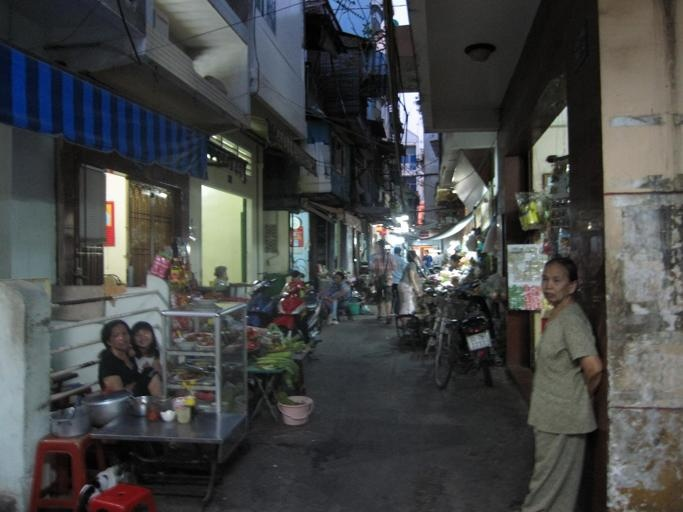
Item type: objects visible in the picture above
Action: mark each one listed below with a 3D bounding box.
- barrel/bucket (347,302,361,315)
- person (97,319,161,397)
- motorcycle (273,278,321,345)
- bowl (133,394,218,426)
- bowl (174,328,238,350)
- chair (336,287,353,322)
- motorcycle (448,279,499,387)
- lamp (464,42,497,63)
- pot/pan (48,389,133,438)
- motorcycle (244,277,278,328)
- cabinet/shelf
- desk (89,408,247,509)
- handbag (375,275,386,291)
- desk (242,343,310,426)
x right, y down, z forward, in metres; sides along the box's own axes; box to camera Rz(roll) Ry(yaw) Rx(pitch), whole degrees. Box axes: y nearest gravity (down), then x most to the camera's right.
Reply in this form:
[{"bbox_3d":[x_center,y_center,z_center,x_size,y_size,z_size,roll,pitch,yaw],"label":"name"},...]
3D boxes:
[{"bbox_3d":[0.337,1.361,15.423,0.329,0.260,0.341,0,4,0],"label":"barrel/bucket"},{"bbox_3d":[-2.147,1.024,6.110,0.595,0.725,0.432,-1,8,-15],"label":"person"},{"bbox_3d":[-0.601,0.890,9.198,0.669,0.796,1.494,-7,-4,17],"label":"motorcycle"},{"bbox_3d":[-1.619,1.381,5.502,0.519,0.129,0.321,2,-3,1],"label":"bowl"},{"bbox_3d":[-1.256,0.787,5.594,0.588,0.207,0.326,-1,8,-15],"label":"bowl"},{"bbox_3d":[0.125,1.211,14.337,0.352,0.946,0.347,7,-8,38],"label":"chair"},{"bbox_3d":[1.857,1.077,8.477,0.674,1.182,1.557,2,8,12],"label":"motorcycle"},{"bbox_3d":[1.778,-2.593,7.726,0.419,0.186,0.308,0,8,-4],"label":"lamp"},{"bbox_3d":[-2.236,1.399,5.381,0.356,0.229,0.736,5,9,29],"label":"pot/pan"},{"bbox_3d":[-1.133,0.719,8.702,0.406,0.458,1.742,0,8,-7],"label":"motorcycle"},{"bbox_3d":[-1.280,1.226,5.580,0.575,1.683,1.424,-1,2,1],"label":"cabinet/shelf"},{"bbox_3d":[-1.460,1.754,5.457,0.858,0.453,0.874,1,3,8],"label":"desk"},{"bbox_3d":[0.885,0.607,13.598,0.287,0.329,0.286,-2,6,-14],"label":"handbag"},{"bbox_3d":[-0.741,1.450,7.111,0.415,0.521,1.443,2,3,8],"label":"desk"}]
